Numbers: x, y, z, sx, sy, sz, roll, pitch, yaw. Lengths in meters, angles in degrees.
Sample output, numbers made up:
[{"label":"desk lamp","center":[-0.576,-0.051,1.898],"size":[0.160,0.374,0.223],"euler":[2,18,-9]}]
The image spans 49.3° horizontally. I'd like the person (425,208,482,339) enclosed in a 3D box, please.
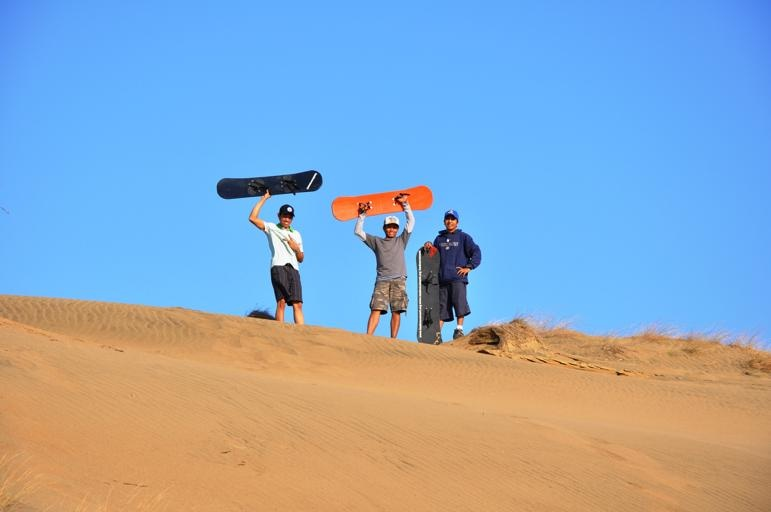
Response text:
[{"label":"person","center":[1.252,0.344,15.768],"size":[0.629,2.252,1.090],"euler":[1,12,-24]}]
